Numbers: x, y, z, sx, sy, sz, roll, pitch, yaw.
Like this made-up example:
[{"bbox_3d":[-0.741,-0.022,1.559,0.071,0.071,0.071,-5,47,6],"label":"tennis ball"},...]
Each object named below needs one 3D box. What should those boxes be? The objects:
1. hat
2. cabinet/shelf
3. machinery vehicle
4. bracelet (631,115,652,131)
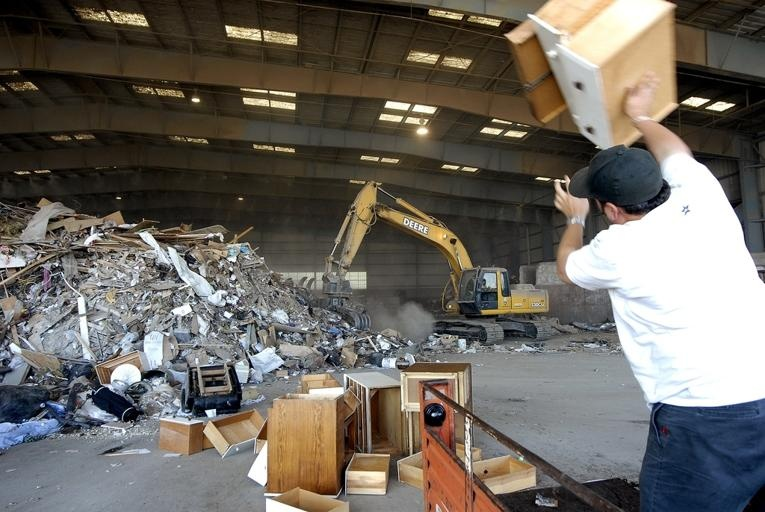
[{"bbox_3d":[1.168,-0.385,2.380,0.333,0.238,0.423,-18,31,-16],"label":"hat"},{"bbox_3d":[-0.032,1.653,4.565,1.524,0.867,1.432,-1,-1,10],"label":"cabinet/shelf"},{"bbox_3d":[1.965,0.470,15.913,8.774,4.853,3.590,5,-8,-36],"label":"machinery vehicle"},{"bbox_3d":[1.404,-0.726,2.499,0.080,0.018,0.080,6,0,12],"label":"bracelet"}]
